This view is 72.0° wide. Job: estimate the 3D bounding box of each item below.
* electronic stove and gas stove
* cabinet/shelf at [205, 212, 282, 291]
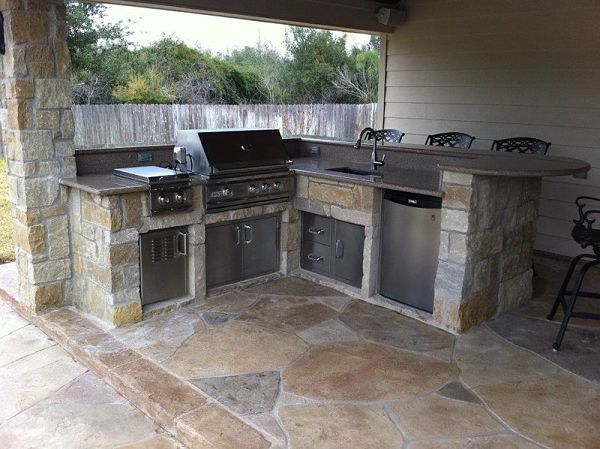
[{"bbox_3d":[-1.199,-0.288,3.451,0.543,0.311,0.402,14,20,36],"label":"electronic stove and gas stove"},{"bbox_3d":[-0.604,0.152,4.026,0.645,0.699,0.647,13,16,43],"label":"cabinet/shelf"}]
